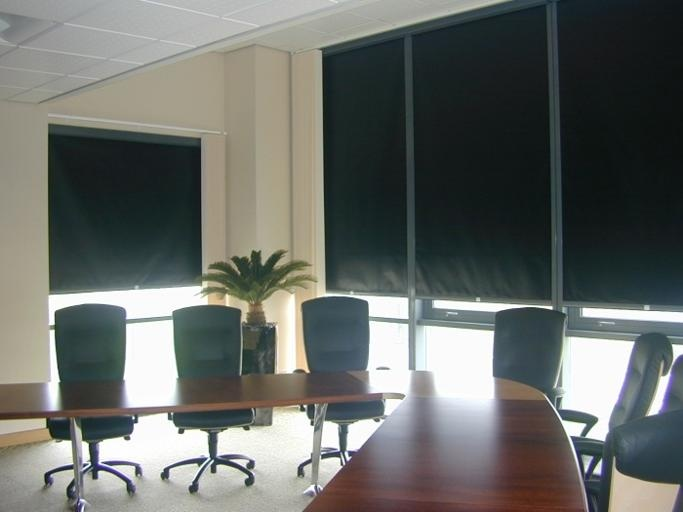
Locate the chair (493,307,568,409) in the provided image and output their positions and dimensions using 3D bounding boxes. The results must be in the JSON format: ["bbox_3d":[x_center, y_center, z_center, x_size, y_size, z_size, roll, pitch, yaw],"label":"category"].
[{"bbox_3d":[1.879,0.895,5.503,0.717,1.225,0.731,0,-8,25],"label":"chair"}]

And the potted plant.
[{"bbox_3d":[-1.445,0.834,7.424,1.855,2.198,1.730,-1,1,8],"label":"potted plant"}]
